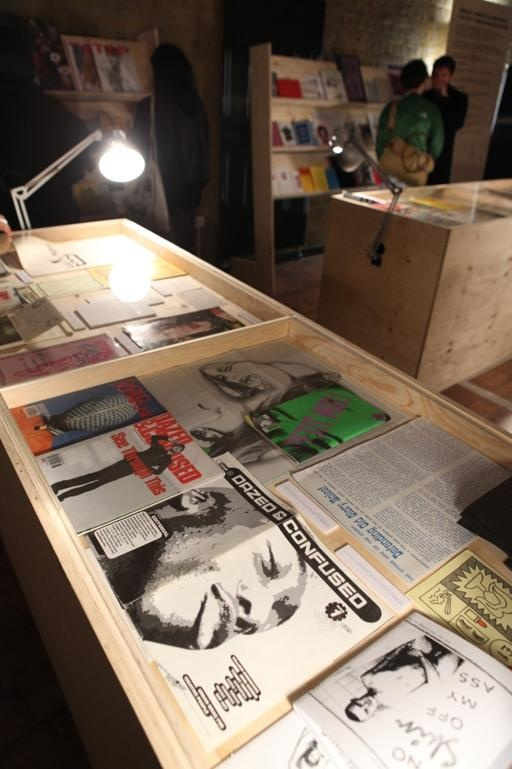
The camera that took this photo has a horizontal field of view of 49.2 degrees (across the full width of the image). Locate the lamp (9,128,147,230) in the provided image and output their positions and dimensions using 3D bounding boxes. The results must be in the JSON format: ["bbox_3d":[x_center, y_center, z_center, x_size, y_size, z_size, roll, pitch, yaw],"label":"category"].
[{"bbox_3d":[-0.808,-0.843,2.389,0.450,0.433,1.021,-13,28,-20],"label":"lamp"}]

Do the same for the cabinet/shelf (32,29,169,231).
[{"bbox_3d":[-0.947,-1.505,3.425,0.609,1.099,0.371,0,21,-8],"label":"cabinet/shelf"}]
